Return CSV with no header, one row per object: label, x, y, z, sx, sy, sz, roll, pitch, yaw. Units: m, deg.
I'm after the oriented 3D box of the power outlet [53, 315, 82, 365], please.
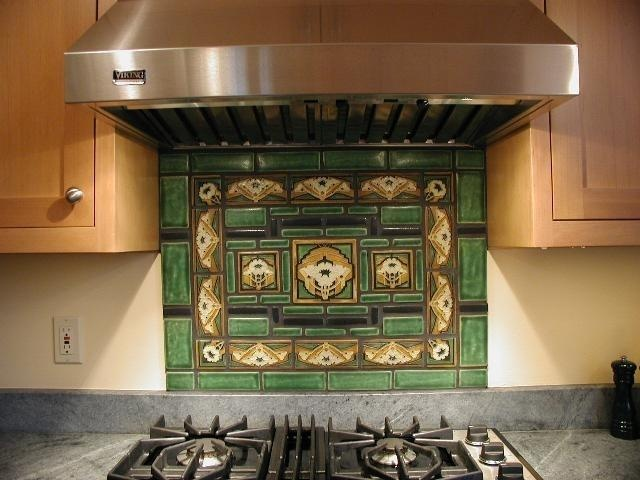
power outlet,-0.852,0.338,2.340,0.090,0.155,0.020,-3,-4,8
